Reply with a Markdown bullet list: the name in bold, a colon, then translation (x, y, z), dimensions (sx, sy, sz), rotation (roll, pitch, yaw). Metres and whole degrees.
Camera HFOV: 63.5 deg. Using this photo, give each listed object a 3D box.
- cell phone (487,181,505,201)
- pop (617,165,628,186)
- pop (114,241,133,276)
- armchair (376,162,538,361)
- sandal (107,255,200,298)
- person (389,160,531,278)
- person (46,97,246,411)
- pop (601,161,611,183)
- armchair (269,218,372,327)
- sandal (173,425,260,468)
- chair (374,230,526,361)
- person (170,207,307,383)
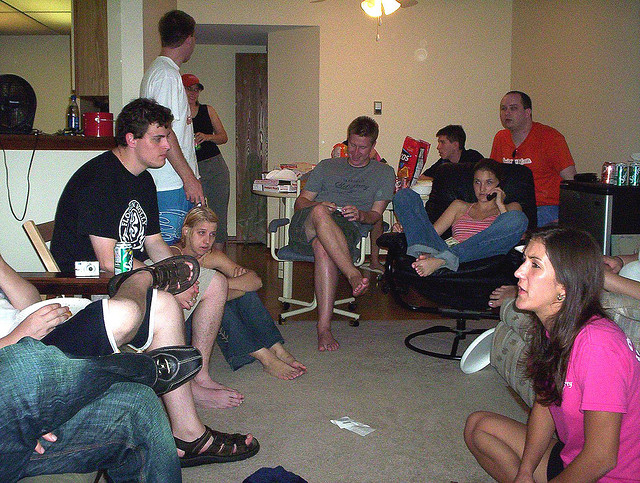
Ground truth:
- **cell phone**: translation (1.133, -0.325, 3.338), dimensions (0.043, 0.133, 0.094), rotation (-1, 52, -48)
- **pop**: translation (1.953, -0.424, 3.332), dimensions (0.063, 0.124, 0.131), rotation (6, 14, 27)
- **pop**: translation (-0.791, 0.074, 2.086), dimensions (0.100, 0.129, 0.099), rotation (2, 7, 0)
- **armchair**: translation (0.970, 0.061, 3.421), dimensions (1.001, 1.254, 1.075), rotation (1, 6, 20)
- **sandal**: translation (-0.568, 0.107, 1.793), dimensions (0.333, 0.118, 0.117), rotation (-15, 13, -38)
- **person**: translation (0.936, -0.210, 3.332), dimensions (0.961, 0.689, 1.132), rotation (9, 6, 24)
- **person**: translation (-0.719, 0.081, 2.377), dimensions (0.989, 1.402, 0.565), rotation (3, 7, 2)
- **pop**: translation (1.906, -0.456, 3.446), dimensions (0.044, 0.128, 0.128), rotation (5, 14, 23)
- **armchair**: translation (0.008, 0.149, 3.955), dimensions (0.785, 0.910, 0.769), rotation (1, 4, 13)
- **sandal**: translation (-0.403, 0.783, 2.078), dimensions (0.351, 0.135, 0.128), rotation (-1, 22, -20)
- **chair**: translation (0.731, 0.350, 3.404), dimensions (0.778, 0.887, 0.791), rotation (3, 25, -2)
- **person**: translation (-0.489, 0.259, 2.851), dimensions (1.068, 0.762, 0.481), rotation (16, 11, 33)
